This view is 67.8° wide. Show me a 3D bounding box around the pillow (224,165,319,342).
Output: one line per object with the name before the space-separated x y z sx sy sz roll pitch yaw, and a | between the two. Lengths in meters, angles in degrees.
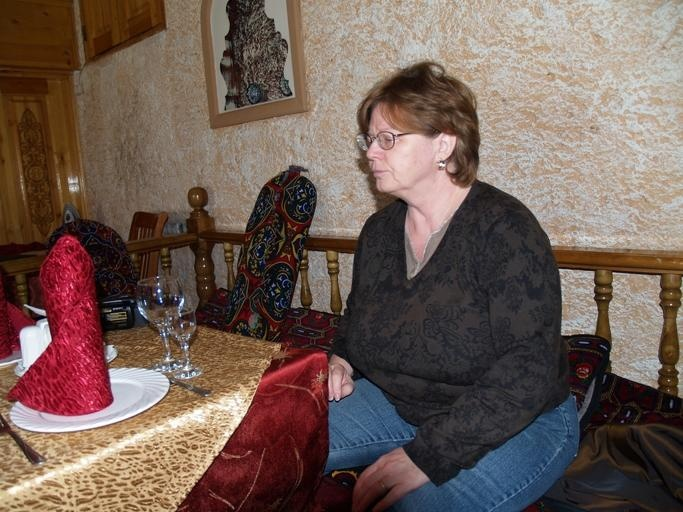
pillow | -0.364 0.004 2.540 0.188 0.912 0.420 21 -14 -39
